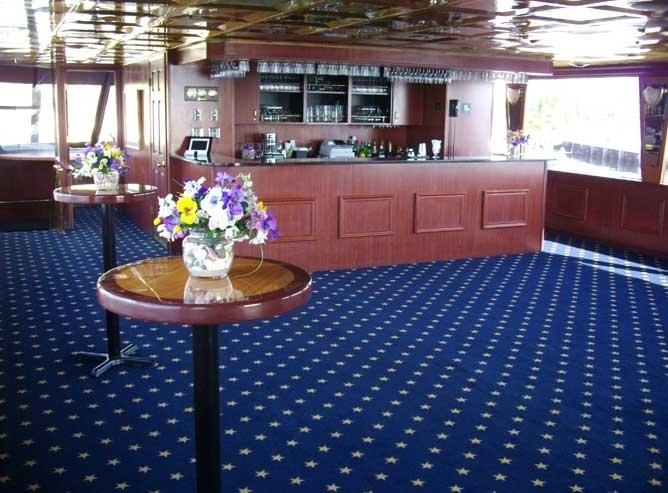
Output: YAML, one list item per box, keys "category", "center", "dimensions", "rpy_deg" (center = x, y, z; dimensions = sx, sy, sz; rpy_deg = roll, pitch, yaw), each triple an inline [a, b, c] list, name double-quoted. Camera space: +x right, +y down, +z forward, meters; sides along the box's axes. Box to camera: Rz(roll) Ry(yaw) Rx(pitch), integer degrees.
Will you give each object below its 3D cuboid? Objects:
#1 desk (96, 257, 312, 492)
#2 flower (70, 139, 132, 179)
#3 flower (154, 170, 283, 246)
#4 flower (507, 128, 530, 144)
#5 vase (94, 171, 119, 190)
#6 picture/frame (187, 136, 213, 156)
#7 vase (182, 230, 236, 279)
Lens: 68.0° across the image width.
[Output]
- category: "desk"
  center: [-0.871, 0.917, 3.292]
  dimensions: [1.111, 1.223, 1.089]
  rpy_deg: [-15, 27, -41]
- category: "flower"
  center: [-2.435, -0.901, 5.153]
  dimensions: [0.512, 0.373, 0.498]
  rpy_deg: [-6, 16, -25]
- category: "flower"
  center: [-0.582, -0.261, 2.627]
  dimensions: [0.623, 0.334, 0.428]
  rpy_deg: [-6, 16, -21]
- category: "flower"
  center: [3.291, -1.918, 8.803]
  dimensions: [0.323, 0.254, 0.361]
  rpy_deg: [4, 15, 10]
- category: "vase"
  center: [-2.311, -0.663, 5.075]
  dimensions: [0.235, 0.142, 0.214]
  rpy_deg: [9, 9, 22]
- category: "picture/frame"
  center: [-2.165, -1.635, 8.021]
  dimensions: [0.374, 0.257, 0.431]
  rpy_deg: [-2, 15, -10]
- category: "vase"
  center: [-0.666, 0.039, 2.679]
  dimensions: [0.277, 0.224, 0.256]
  rpy_deg: [0, 7, -10]
